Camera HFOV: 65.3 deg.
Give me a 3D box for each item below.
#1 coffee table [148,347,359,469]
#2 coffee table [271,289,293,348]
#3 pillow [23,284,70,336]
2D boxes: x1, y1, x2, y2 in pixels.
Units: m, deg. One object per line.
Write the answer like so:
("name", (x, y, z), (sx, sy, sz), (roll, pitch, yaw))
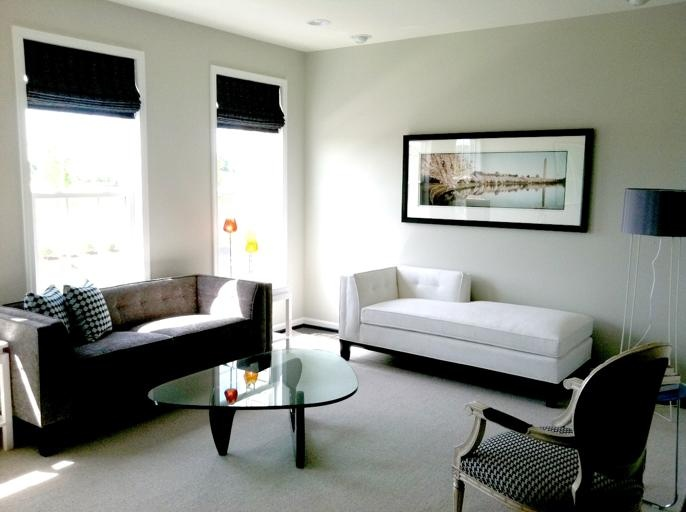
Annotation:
("coffee table", (-0.567, 1.032, 3.665), (1.284, 0.508, 0.944), (-1, 13, -9))
("coffee table", (-0.597, 0.576, 5.385), (0.181, 0.549, 0.415), (-1, 13, -7))
("pillow", (-2.044, 0.384, 3.746), (0.131, 0.271, 0.289), (-12, 12, -3))
